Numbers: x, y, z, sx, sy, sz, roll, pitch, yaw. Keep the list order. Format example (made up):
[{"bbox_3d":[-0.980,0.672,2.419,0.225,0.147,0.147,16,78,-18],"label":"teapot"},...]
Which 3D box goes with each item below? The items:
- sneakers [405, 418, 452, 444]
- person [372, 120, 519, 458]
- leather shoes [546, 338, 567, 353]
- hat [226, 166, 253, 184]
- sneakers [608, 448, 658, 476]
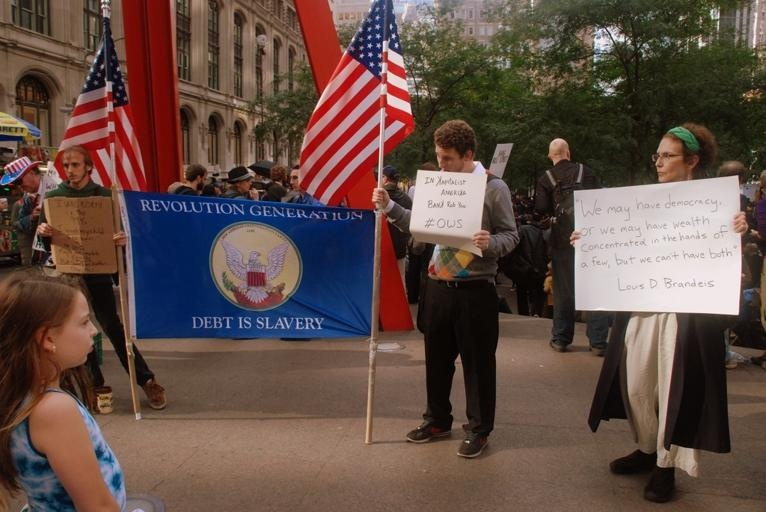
[{"bbox_3d":[0.426,1.688,7.238,0.479,0.206,0.185,1,3,-14],"label":"sneakers"},{"bbox_3d":[0.660,0.269,6.975,0.935,3.002,1.059,-11,18,-37],"label":"person"},{"bbox_3d":[2.263,1.171,9.749,0.171,0.201,0.476,2,-3,-11],"label":"leather shoes"},{"bbox_3d":[-2.138,-1.225,11.159,0.318,0.250,0.588,-1,14,-7],"label":"hat"},{"bbox_3d":[2.222,1.843,6.720,0.514,0.205,0.174,-1,9,-3],"label":"sneakers"}]
